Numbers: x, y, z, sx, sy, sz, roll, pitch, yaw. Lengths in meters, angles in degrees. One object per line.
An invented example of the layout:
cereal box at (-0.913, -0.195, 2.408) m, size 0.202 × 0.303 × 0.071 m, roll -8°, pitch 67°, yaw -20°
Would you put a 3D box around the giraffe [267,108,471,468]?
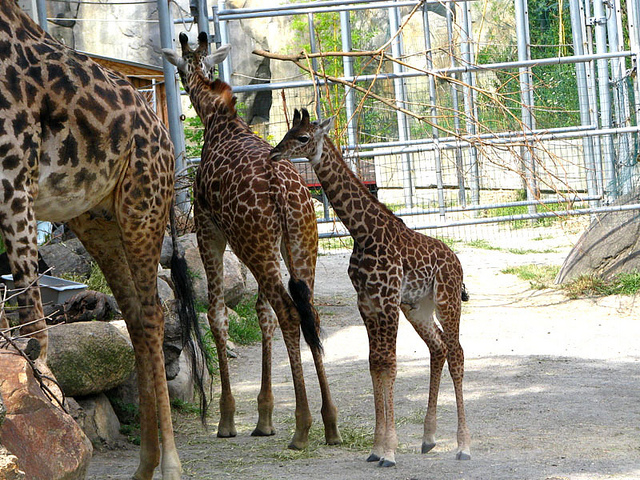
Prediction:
giraffe at (0.484, 0.318, 7.637) m, size 1.335 × 2.736 × 0.802 m, roll -2°, pitch 10°, yaw 6°
